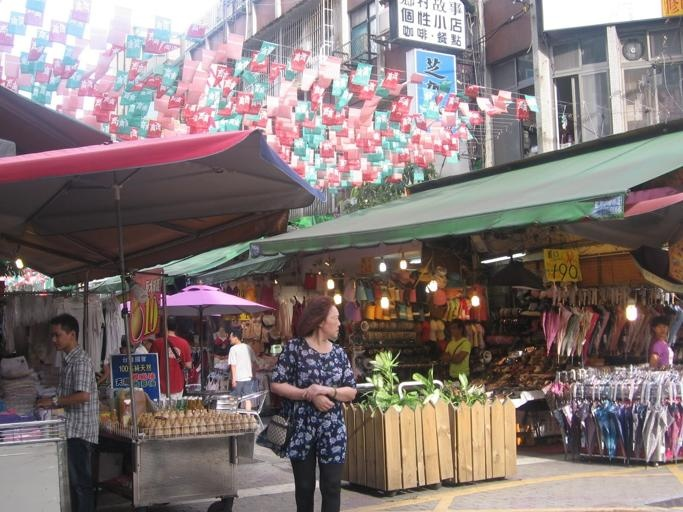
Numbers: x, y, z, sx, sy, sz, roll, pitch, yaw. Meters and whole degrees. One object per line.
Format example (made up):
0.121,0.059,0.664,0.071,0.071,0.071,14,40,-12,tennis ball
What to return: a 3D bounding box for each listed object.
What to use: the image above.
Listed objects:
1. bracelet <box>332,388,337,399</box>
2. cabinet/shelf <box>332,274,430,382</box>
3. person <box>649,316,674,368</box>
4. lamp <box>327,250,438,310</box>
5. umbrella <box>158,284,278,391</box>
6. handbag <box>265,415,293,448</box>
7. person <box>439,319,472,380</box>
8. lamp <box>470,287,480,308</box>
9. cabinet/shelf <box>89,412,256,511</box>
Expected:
-0.075,1.279,6.630,0.024,0.069,0.059,3,6,-9,bracelet
0.757,1.244,15.332,2.291,2.914,1.949,0,2,-9,cabinet/shelf
4.735,1.280,10.706,0.293,0.766,0.612,-4,-8,23,person
0.566,0.402,14.350,1.786,0.935,1.264,-1,-8,-4,lamp
-2.289,1.554,13.820,2.134,1.506,2.351,-4,-6,28,umbrella
-0.599,1.635,6.701,0.285,0.293,0.102,-7,-10,37,handbag
2.096,1.694,13.037,0.497,1.160,2.212,-2,-8,9,person
2.463,0.731,13.239,0.173,0.340,0.386,-2,-8,8,lamp
-1.859,2.355,8.145,1.724,1.202,1.361,2,-8,-19,cabinet/shelf
